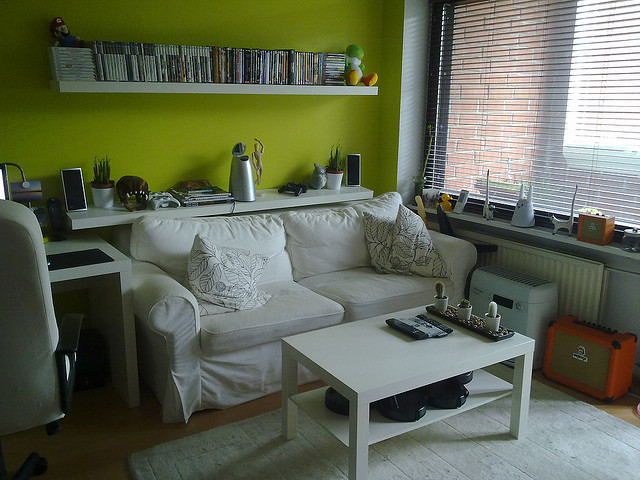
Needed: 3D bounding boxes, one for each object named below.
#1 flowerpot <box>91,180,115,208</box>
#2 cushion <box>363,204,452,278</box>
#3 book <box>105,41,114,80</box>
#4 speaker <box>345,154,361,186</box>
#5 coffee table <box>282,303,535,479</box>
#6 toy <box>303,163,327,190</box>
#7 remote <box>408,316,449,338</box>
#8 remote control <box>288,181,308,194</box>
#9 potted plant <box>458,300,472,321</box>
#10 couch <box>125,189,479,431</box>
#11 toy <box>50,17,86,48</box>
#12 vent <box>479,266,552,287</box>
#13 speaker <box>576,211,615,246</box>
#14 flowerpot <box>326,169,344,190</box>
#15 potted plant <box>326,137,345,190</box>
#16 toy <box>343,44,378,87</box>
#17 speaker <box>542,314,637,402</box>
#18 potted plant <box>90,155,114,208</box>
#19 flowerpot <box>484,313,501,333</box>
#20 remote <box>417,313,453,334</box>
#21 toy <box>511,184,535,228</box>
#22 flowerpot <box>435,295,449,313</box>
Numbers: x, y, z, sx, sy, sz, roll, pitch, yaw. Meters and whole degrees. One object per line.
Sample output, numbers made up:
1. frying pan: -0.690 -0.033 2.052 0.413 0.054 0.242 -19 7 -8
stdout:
1. flowerpot: -1.498 -0.315 3.395 0.169 0.170 0.180 5 11 12
2. cushion: 0.606 -0.015 3.866 0.564 0.563 0.857 -1 8 -17
3. book: -1.366 -1.156 3.177 0.025 0.226 0.028 -12 21 -35
4. speaker: 0.303 -0.615 4.422 0.129 0.192 0.122 6 -8 20
5. coffee table: 0.466 0.810 2.708 1.256 0.610 0.671 -7 18 -25
6. toy: -0.030 -0.545 4.257 0.152 0.208 0.203 -13 21 -37
7. remote: 0.615 0.488 2.778 0.166 0.017 0.088 24 18 40
8. remote control: -0.206 -0.429 4.109 0.212 0.084 0.071 11 11 38
9. potted plant: 0.835 0.413 2.842 0.076 0.099 0.081 6 17 16
10. couch: -0.122 0.320 3.643 2.393 1.135 1.078 -8 20 -31
11. toy: -1.627 -1.328 3.151 0.159 0.189 0.222 -12 21 -36
12. vent: 1.401 0.263 3.582 0.146 0.063 0.261 0 12 -41
13. speaker: 1.857 -0.048 3.453 0.271 0.188 0.265 22 -15 -39
14. flowerpot: 0.112 -0.517 4.226 0.165 0.134 0.162 -1 12 -16
15. potted plant: 0.124 -0.665 4.297 0.166 0.420 0.156 9 -2 -14
16. toy: 0.319 -1.436 4.065 0.321 0.337 0.303 0 19 -15
17. speaker: 1.779 0.771 3.247 0.289 0.409 0.500 -15 22 -41
18. potted plant: -1.531 -0.408 3.448 0.144 0.344 0.194 -7 18 -24
19. flowerpot: 0.943 0.463 2.699 0.085 0.095 0.094 3 -2 27
20. remote: 0.647 0.473 2.824 0.063 0.034 0.247 -19 28 -38
21. toy: 1.584 -0.271 3.782 0.162 0.314 0.273 9 18 25
22. flowerpot: 0.723 0.392 2.981 0.079 0.086 0.079 0 15 -11
